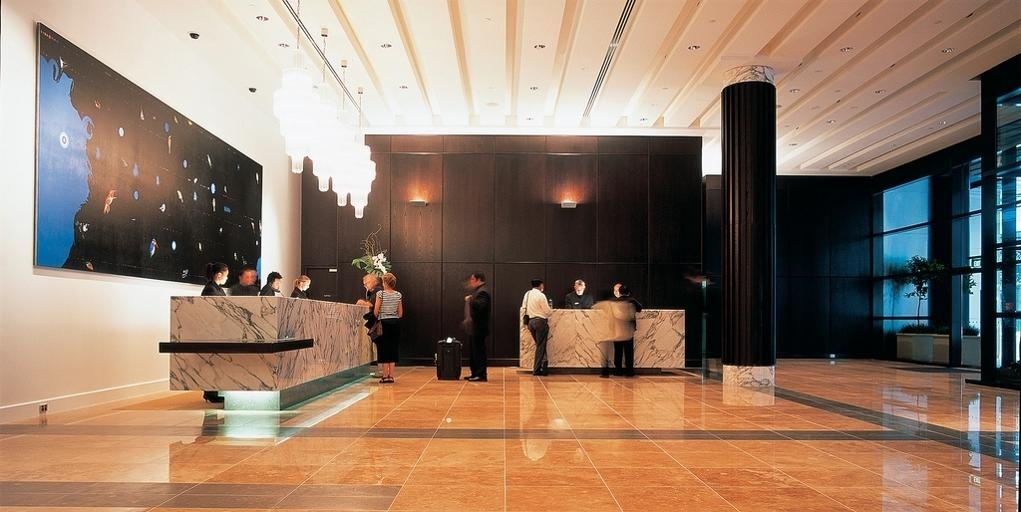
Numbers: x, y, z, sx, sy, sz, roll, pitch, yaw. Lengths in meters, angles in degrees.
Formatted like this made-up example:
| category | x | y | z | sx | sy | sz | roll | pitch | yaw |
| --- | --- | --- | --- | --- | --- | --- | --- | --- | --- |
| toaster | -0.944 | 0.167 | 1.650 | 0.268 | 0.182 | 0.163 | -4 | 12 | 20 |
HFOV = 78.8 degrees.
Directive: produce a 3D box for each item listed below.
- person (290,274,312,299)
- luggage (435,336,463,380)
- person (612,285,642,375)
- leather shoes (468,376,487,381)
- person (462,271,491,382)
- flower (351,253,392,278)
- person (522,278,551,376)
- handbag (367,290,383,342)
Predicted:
| category | x | y | z | sx | sy | sz | roll | pitch | yaw |
| --- | --- | --- | --- | --- | --- | --- | --- | --- | --- |
| person | -5.472 | 0.807 | 16.012 | 0.424 | 0.514 | 0.724 | -2 | 5 | -20 |
| luggage | -1.581 | 2.612 | 15.554 | 0.562 | 0.974 | 0.500 | -3 | 14 | -15 |
| person | 2.967 | 1.956 | 16.114 | 0.651 | 2.311 | 0.560 | 3 | 14 | 11 |
| leather shoes | -0.828 | 3.019 | 15.291 | 0.455 | 0.164 | 0.156 | 3 | -9 | 5 |
| person | -0.844 | 1.830 | 15.274 | 0.597 | 2.754 | 0.849 | 0 | 14 | -3 |
| flower | -3.969 | 0.243 | 17.880 | 0.937 | 0.341 | 0.899 | 13 | 12 | 26 |
| person | 0.660 | 1.856 | 16.083 | 0.755 | 2.489 | 0.693 | 1 | 14 | 3 |
| handbag | -3.292 | 1.530 | 14.858 | 0.298 | 1.189 | 0.483 | -3 | 14 | -13 |
